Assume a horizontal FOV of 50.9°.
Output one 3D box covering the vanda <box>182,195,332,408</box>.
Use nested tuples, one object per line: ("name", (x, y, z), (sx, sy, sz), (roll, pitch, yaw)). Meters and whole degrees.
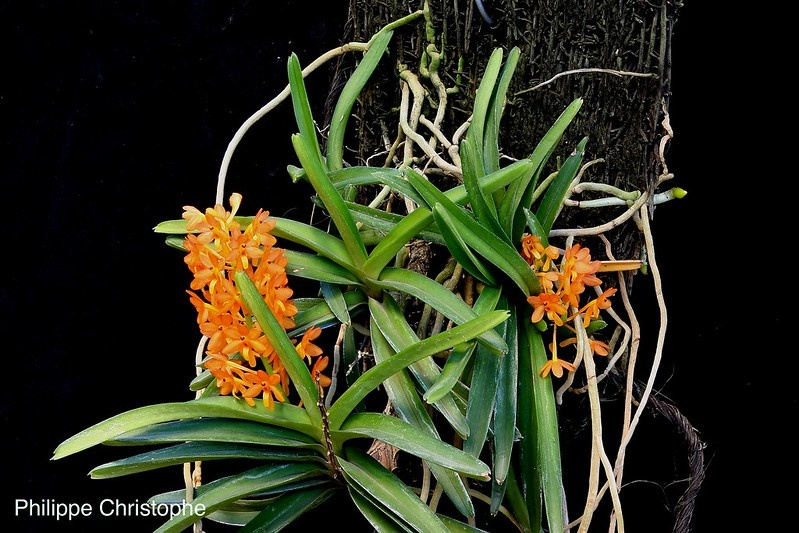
("vanda", (-0.263, 0.062, 1.427), (0.187, 0.290, 0.275), (-3, 40, -27))

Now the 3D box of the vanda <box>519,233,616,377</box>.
("vanda", (0.294, 0.062, 1.494), (0.144, 0.244, 0.095), (-26, 16, -8))
